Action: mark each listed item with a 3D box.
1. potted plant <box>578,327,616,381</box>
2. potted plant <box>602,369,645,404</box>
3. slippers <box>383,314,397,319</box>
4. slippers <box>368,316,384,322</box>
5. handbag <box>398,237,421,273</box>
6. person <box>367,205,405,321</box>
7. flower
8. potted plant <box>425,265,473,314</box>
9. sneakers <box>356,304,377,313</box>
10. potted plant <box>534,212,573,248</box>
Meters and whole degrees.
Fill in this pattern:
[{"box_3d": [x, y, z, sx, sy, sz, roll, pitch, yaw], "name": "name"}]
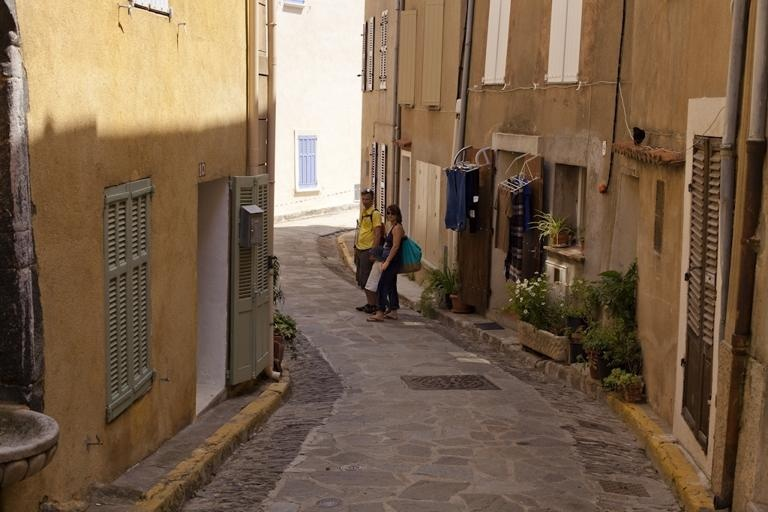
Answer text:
[{"box_3d": [2.719, 1.257, 10.267, 0.289, 0.681, 0.601, -2, 11, -2], "name": "potted plant"}, {"box_3d": [2.908, 1.551, 9.723, 0.242, 0.312, 0.542, -5, 12, -19], "name": "potted plant"}, {"box_3d": [0.107, 1.144, 15.206, 0.240, 0.109, 0.092, 7, 5, 16], "name": "slippers"}, {"box_3d": [-0.165, 1.180, 14.968, 0.213, 0.089, 0.124, 3, -3, -15], "name": "slippers"}, {"box_3d": [0.454, -0.057, 14.598, 0.301, 0.755, 0.533, -10, -2, -29], "name": "handbag"}, {"box_3d": [0.066, 0.139, 14.760, 0.603, 2.228, 0.963, -2, 10, -3], "name": "person"}, {"box_3d": [2.456, 0.775, 12.004, 0.665, 0.585, 0.922, 6, 16, 40], "name": "flower"}, {"box_3d": [1.364, 0.709, 16.269, 0.802, 1.112, 0.880, 2, 4, 27], "name": "potted plant"}, {"box_3d": [-0.346, 1.016, 15.618, 0.157, 0.211, 0.480, -2, 10, -33], "name": "sneakers"}, {"box_3d": [2.719, -0.409, 12.772, 0.515, 0.395, 0.539, 0, 3, -14], "name": "potted plant"}]
